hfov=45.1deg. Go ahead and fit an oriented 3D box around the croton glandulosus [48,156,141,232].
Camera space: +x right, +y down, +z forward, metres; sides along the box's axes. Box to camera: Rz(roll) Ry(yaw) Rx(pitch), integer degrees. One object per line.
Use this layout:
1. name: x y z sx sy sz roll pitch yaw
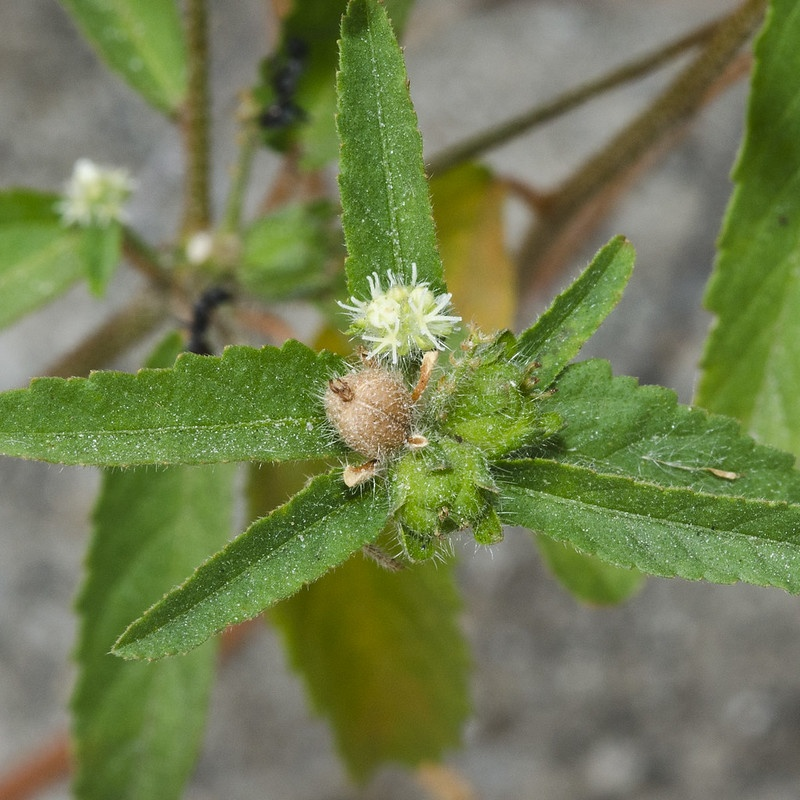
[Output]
1. croton glandulosus: -0.457 -0.318 1.480 0.094 0.196 0.090 2 -76 -5
